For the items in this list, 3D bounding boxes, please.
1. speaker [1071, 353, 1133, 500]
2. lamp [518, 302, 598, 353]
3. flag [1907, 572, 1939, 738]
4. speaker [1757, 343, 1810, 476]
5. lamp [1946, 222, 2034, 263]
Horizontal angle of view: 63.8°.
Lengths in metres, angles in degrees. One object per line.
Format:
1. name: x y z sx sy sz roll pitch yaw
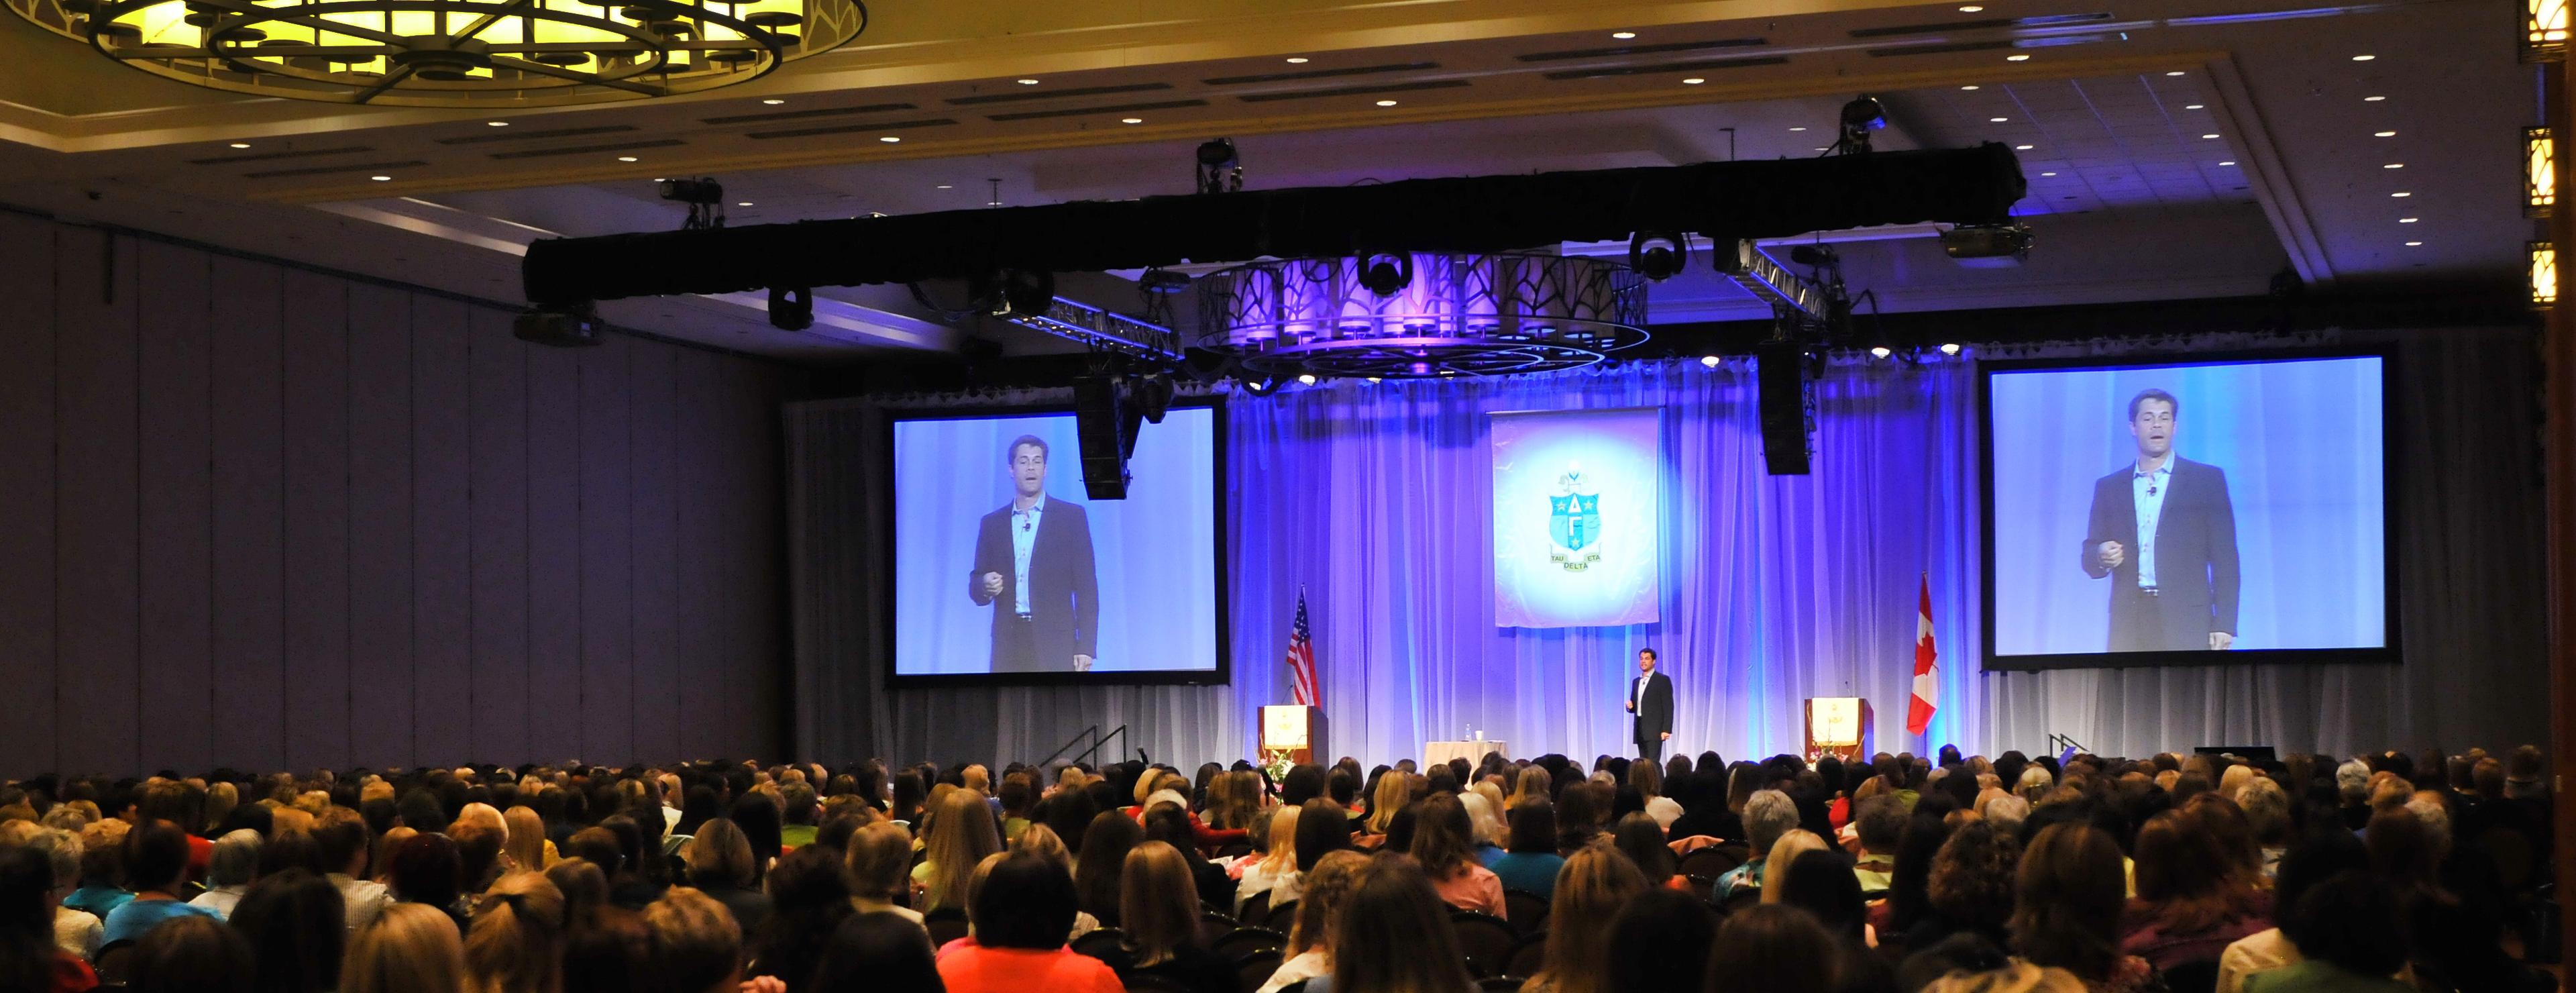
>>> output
1. speaker: -3.368 -1.261 37.873 0.944 2.505 1.309 -2 -9 1
2. lamp: -11.744 -2.695 32.632 0.994 0.311 1.084 -1 -4 13
3. flag: 11.787 3.008 38.664 0.599 2.957 0.855 -4 -9 15
4. speaker: 8.737 -1.558 36.531 0.846 2.183 0.991 -3 -9 10
5. lamp: 10.566 -3.827 31.331 1.142 0.268 0.711 0 0 8
